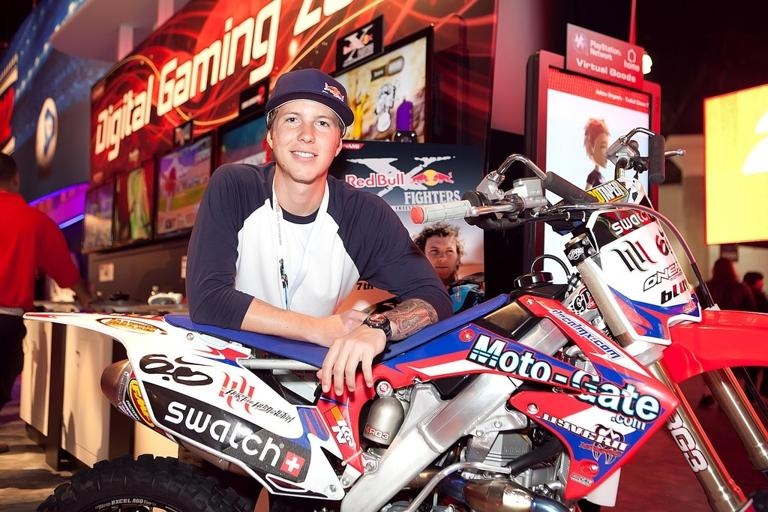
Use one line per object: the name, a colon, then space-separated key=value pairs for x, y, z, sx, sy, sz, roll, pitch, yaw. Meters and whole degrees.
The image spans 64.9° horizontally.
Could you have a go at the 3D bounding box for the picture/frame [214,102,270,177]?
picture/frame: x=-1.366 y=-1.110 z=6.106 sx=0.084 sy=0.594 sz=0.823 roll=-20 pitch=17 yaw=-38

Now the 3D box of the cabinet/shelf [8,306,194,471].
cabinet/shelf: x=-1.581 y=0.742 z=3.329 sx=0.523 sy=1.075 sz=1.134 roll=5 pitch=-8 yaw=-34

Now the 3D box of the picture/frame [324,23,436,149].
picture/frame: x=0.002 y=-1.228 z=4.429 sx=0.064 sy=0.925 sz=1.497 roll=-3 pitch=3 yaw=-35
